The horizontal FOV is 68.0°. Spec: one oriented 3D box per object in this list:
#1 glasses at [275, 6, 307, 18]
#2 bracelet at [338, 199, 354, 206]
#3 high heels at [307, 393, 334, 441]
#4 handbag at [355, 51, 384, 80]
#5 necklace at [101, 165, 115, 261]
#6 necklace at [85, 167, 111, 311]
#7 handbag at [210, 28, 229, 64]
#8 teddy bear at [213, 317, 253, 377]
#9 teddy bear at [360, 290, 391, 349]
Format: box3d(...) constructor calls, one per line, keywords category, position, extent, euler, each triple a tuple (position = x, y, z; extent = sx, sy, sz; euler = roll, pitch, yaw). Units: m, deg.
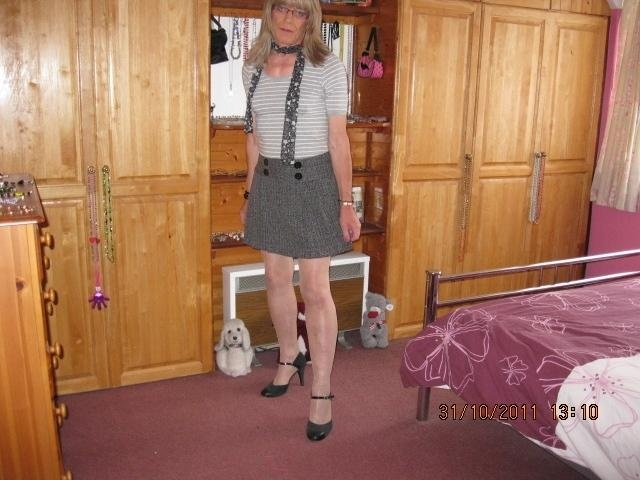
box3d(category="glasses", position=(-0.138, -1.067, 2.214), extent=(0.155, 0.052, 0.031), euler=(0, 13, -2))
box3d(category="bracelet", position=(0.124, -0.185, 2.357), extent=(0.064, 0.031, 0.030), euler=(4, 14, 17))
box3d(category="high heels", position=(0.006, 0.924, 2.461), extent=(0.118, 0.069, 0.303), euler=(3, 28, 9))
box3d(category="handbag", position=(0.360, -1.236, 3.342), extent=(0.087, 0.219, 0.220), euler=(-8, 20, -40))
box3d(category="necklace", position=(-1.170, -0.143, 2.661), extent=(0.031, 0.654, 0.073), euler=(33, 37, 31))
box3d(category="necklace", position=(-1.250, -0.009, 2.613), extent=(0.107, 0.782, 0.063), euler=(-6, 14, -24))
box3d(category="handbag", position=(-0.663, -1.276, 3.148), extent=(0.112, 0.212, 0.172), euler=(6, 4, -12))
box3d(category="teddy bear", position=(-0.553, 0.661, 2.999), extent=(0.238, 0.330, 0.262), euler=(2, 12, 13))
box3d(category="teddy bear", position=(0.398, 0.577, 3.371), extent=(0.205, 0.375, 0.254), euler=(1, 13, 7))
